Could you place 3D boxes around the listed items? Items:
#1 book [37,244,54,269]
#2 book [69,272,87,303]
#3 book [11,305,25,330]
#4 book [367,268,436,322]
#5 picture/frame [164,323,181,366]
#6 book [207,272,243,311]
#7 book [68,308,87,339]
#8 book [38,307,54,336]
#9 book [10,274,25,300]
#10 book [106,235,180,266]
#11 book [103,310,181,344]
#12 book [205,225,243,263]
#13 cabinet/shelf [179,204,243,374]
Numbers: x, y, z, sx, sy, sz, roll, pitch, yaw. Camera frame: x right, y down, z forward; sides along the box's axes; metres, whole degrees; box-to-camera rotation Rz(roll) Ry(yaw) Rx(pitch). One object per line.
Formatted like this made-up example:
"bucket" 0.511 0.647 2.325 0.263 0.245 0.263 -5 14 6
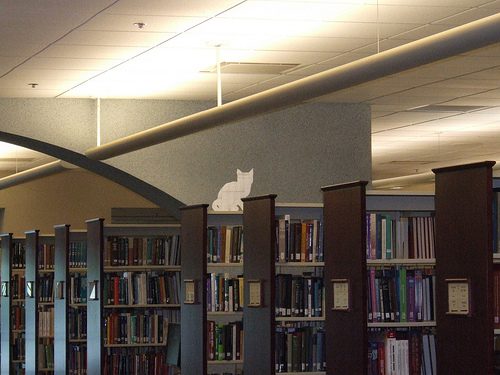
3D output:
"book" -2.800 0.946 13.051 0.275 0.410 0.294 2 -5 -18
"book" -2.256 1.334 12.435 0.322 0.455 0.308 0 -6 -9
"book" -3.338 1.879 13.687 0.264 0.402 0.283 1 -5 -8
"book" 1.506 1.123 9.968 0.843 0.788 0.482 1 -7 -4
"picture/frame" -0.982 1.992 12.032 0.301 0.569 0.575 1 -6 -9
"book" -0.297 1.226 10.893 0.368 0.515 0.517 1 -5 -6
"book" -2.267 1.792 12.492 0.332 0.481 0.340 1 -6 -7
"book" -2.762 1.831 12.835 0.214 0.308 0.100 1 2 23
"book" -3.359 1.440 13.752 0.273 0.393 0.390 0 -5 -8
"book" -1.385 0.828 12.258 0.982 0.360 0.458 0 -5 -8
"book" -1.439 1.795 12.195 1.072 0.364 0.493 0 -7 -4
"book" -0.291 0.670 10.999 0.362 0.509 0.510 0 -6 -4
"cabinet/shelf" -0.630 1.140 10.681 0.172 1.878 0.700 2 -9 -24
